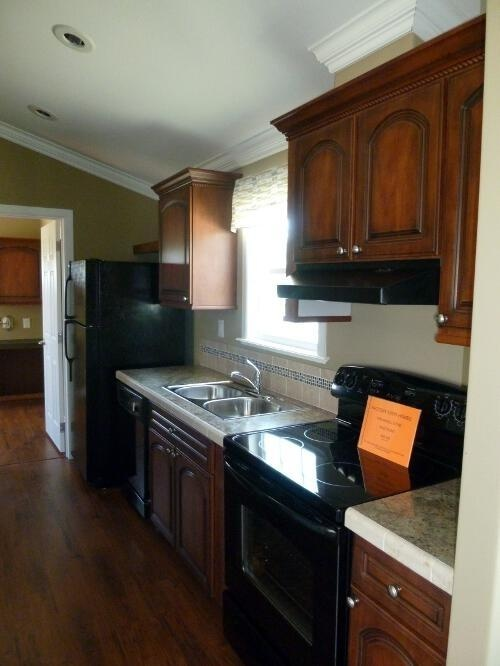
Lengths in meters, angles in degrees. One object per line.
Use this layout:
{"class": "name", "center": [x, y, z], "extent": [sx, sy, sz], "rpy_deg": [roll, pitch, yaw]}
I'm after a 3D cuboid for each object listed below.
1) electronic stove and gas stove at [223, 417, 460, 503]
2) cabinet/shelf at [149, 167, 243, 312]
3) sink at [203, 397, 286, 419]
{"class": "electronic stove and gas stove", "center": [0.294, 0.408, 1.636], "extent": [0.314, 0.086, 0.354], "rpy_deg": [-7, 12, -34]}
{"class": "cabinet/shelf", "center": [-0.290, -0.515, 3.036], "extent": [0.374, 0.744, 0.533], "rpy_deg": [-2, 6, -24]}
{"class": "sink", "center": [-0.073, 0.372, 2.632], "extent": [0.205, 0.085, 0.173], "rpy_deg": [0, 4, -23]}
